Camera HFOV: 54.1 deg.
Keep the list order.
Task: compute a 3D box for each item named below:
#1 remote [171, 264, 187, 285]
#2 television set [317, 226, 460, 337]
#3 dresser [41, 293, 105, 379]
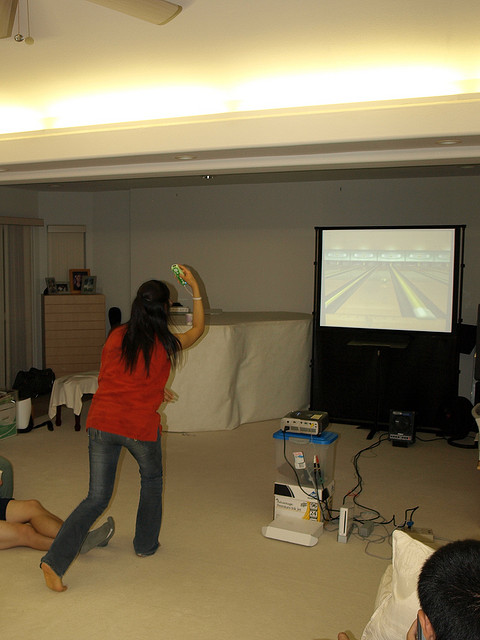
[{"bbox_3d":[-0.336,-0.271,2.804,0.073,0.122,0.037,-1,40,48],"label":"remote"},{"bbox_3d":[1.871,-0.480,5.698,1.383,1.036,0.027,3,4,25],"label":"television set"},{"bbox_3d":[-2.689,0.530,7.641,0.889,0.539,1.478,-6,39,-19],"label":"dresser"}]
